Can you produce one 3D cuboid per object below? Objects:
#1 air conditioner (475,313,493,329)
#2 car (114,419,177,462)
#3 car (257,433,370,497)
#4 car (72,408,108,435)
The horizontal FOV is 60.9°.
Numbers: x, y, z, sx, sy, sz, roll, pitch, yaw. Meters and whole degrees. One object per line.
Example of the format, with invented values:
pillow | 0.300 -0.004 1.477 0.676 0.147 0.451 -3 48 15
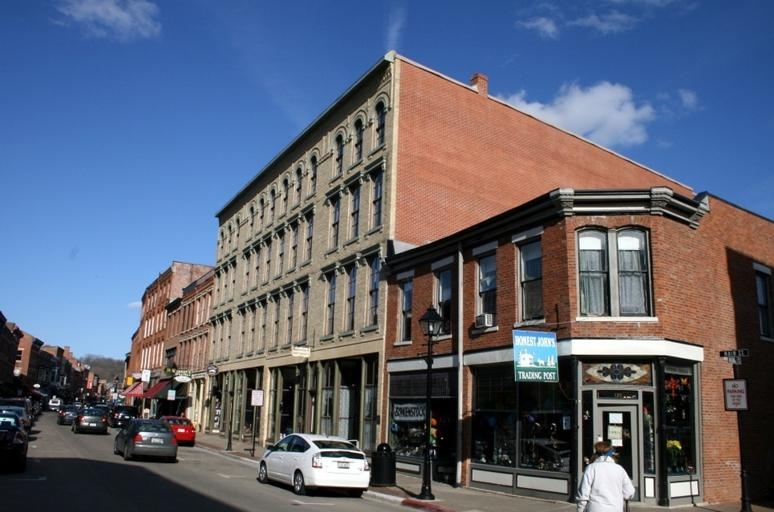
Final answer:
air conditioner | 3.747 2.513 25.673 0.780 0.611 0.390 -9 -23 31
car | -10.518 8.106 29.033 2.588 1.699 3.483 11 -21 -19
car | -2.728 7.337 23.417 3.722 2.079 1.551 -11 -24 35
car | -19.040 10.653 42.527 1.232 0.954 2.883 3 -4 -23
